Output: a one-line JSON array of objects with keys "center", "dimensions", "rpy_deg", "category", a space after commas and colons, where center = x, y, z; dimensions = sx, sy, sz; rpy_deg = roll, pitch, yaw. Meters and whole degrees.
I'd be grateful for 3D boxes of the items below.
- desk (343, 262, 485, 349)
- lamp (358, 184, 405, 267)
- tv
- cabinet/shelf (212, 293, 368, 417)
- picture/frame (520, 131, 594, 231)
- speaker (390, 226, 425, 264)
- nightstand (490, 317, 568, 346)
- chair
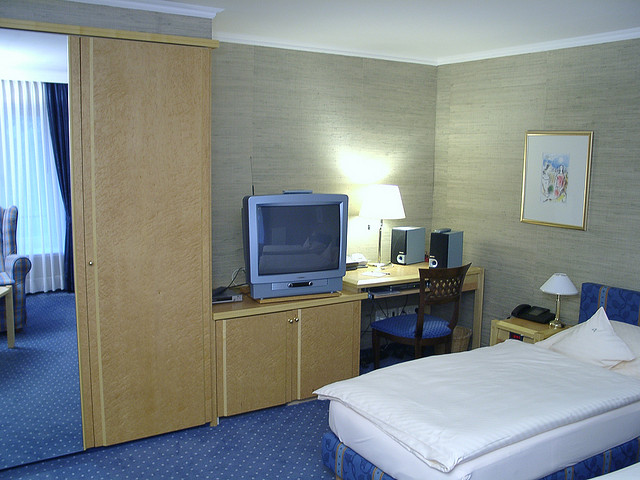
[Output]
[{"center": [0.993, 0.646, 4.563], "dimensions": [0.404, 0.564, 0.809], "rpy_deg": [8, -14, -11], "category": "desk"}, {"center": [0.573, -0.137, 4.899], "dimensions": [0.418, 0.788, 0.510], "rpy_deg": [-2, 9, -11], "category": "lamp"}, {"center": [-0.225, 0.013, 4.304], "dimensions": [0.845, 0.836, 0.467], "rpy_deg": [-3, 10, -16], "category": "tv"}, {"center": [-0.309, 0.925, 4.292], "dimensions": [1.297, 0.839, 0.470], "rpy_deg": [-3, 7, -28], "category": "cabinet/shelf"}, {"center": [2.082, -0.515, 4.364], "dimensions": [0.053, 1.042, 0.780], "rpy_deg": [-4, 9, -39], "category": "picture/frame"}, {"center": [0.892, 0.058, 5.096], "dimensions": [0.296, 0.364, 0.210], "rpy_deg": [-7, 11, -36], "category": "speaker"}, {"center": [1.805, 0.745, 4.403], "dimensions": [0.339, 0.269, 0.298], "rpy_deg": [-6, 9, -37], "category": "nightstand"}, {"center": [0.920, 0.756, 4.601], "dimensions": [0.699, 1.143, 0.768], "rpy_deg": [-2, 5, -23], "category": "chair"}]
